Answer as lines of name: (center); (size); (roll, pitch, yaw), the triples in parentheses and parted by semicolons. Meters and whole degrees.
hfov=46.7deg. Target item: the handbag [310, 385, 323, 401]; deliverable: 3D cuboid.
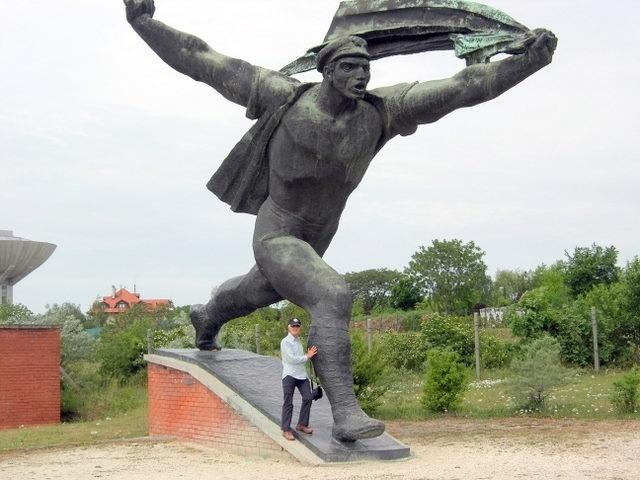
handbag: (-0.033, 2.013, 9.675); (0.121, 0.202, 0.198); (7, -2, 15)
